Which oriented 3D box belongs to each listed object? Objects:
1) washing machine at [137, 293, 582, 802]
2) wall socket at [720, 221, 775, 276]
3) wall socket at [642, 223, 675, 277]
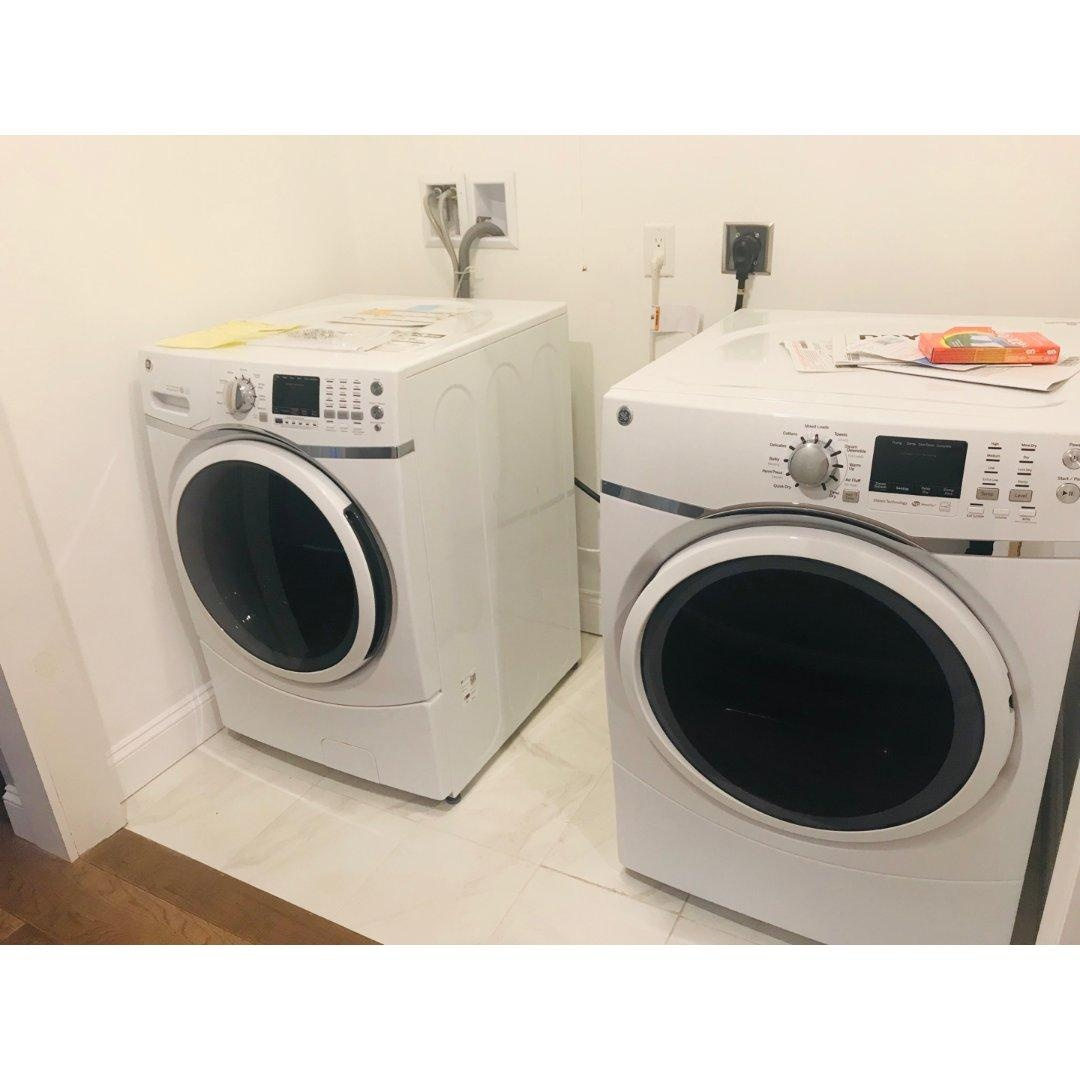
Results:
[{"bbox_3d":[-0.319,-0.013,1.968,0.588,0.914,0.646,12,28,26],"label":"washing machine"},{"bbox_3d":[0.386,-0.534,1.722,0.088,0.072,0.044,16,30,36],"label":"wall socket"},{"bbox_3d":[0.230,-0.550,1.808,0.067,0.096,0.044,8,27,19],"label":"wall socket"}]
